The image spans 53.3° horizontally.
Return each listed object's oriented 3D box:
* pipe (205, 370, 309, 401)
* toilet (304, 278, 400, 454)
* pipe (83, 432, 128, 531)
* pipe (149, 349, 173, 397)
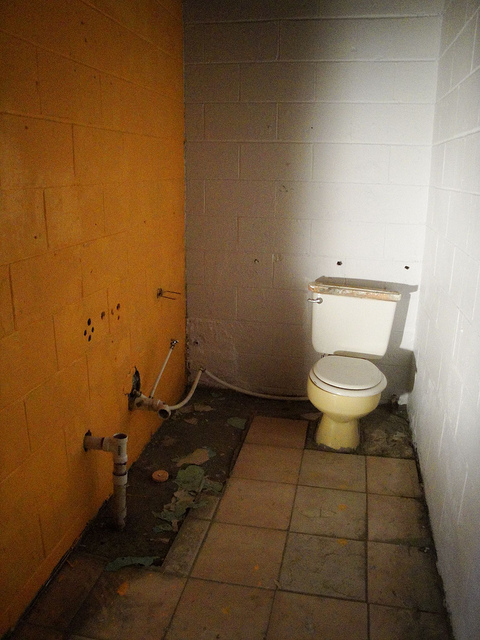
[{"bbox_3d":[0.109,0.429,3.257,0.682,0.199,0.198,2,12,-1],"label":"pipe"},{"bbox_3d":[0.594,0.265,2.677,0.415,0.846,0.737,6,14,11],"label":"toilet"},{"bbox_3d":[-0.530,0.642,1.957,0.168,0.429,0.198,1,11,-1],"label":"pipe"},{"bbox_3d":[-0.438,0.286,2.629,0.111,0.251,0.447,-1,13,-9],"label":"pipe"}]
